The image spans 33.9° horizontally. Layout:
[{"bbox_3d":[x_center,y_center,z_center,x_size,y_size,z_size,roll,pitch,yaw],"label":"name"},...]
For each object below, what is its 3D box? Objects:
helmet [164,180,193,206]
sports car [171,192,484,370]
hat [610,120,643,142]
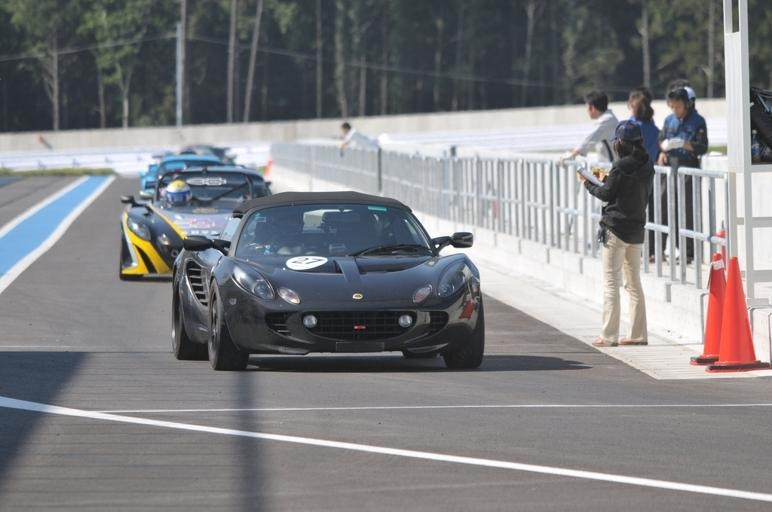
[{"bbox_3d":[-3.254,-0.990,19.961,0.303,0.350,0.430,-4,-1,-15],"label":"helmet"},{"bbox_3d":[-0.668,0.315,12.966,2.125,1.985,5.364,0,0,-16],"label":"sports car"},{"bbox_3d":[2.629,-1.376,13.815,0.305,0.177,0.206,8,16,17],"label":"hat"}]
